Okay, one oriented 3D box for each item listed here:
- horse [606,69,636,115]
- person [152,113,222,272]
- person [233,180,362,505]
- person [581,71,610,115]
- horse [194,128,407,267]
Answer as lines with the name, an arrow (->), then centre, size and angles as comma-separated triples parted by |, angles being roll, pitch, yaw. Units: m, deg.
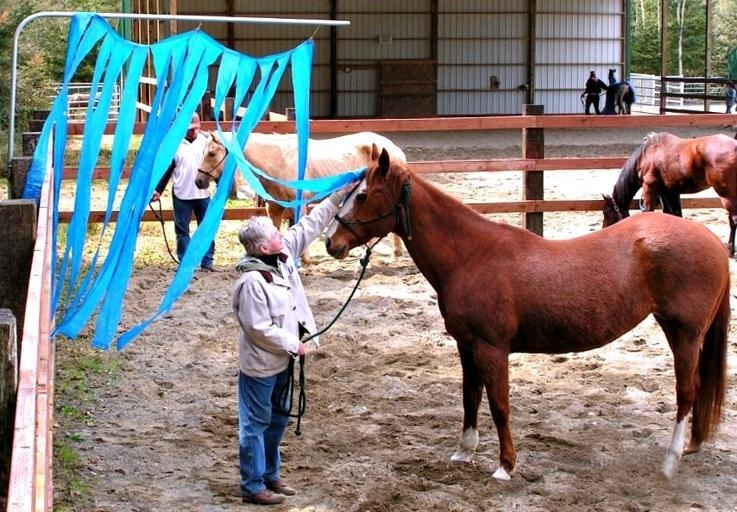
horse -> 5.455, -3.587, 24.079 | 0.434, 0.978, 1.243 | 2, 4, -22
person -> -2.074, -0.702, 12.315 | 0.637, 1.804, 0.703 | -1, 5, -9
person -> -0.743, 0.813, 8.443 | 0.565, 2.220, 0.361 | -1, 5, -9
person -> 5.248, -3.841, 25.540 | 0.545, 1.069, 2.504 | 1, 6, 10
horse -> -0.631, -0.714, 12.835 | 2.538, 1.769, 0.664 | -6, 9, -17
